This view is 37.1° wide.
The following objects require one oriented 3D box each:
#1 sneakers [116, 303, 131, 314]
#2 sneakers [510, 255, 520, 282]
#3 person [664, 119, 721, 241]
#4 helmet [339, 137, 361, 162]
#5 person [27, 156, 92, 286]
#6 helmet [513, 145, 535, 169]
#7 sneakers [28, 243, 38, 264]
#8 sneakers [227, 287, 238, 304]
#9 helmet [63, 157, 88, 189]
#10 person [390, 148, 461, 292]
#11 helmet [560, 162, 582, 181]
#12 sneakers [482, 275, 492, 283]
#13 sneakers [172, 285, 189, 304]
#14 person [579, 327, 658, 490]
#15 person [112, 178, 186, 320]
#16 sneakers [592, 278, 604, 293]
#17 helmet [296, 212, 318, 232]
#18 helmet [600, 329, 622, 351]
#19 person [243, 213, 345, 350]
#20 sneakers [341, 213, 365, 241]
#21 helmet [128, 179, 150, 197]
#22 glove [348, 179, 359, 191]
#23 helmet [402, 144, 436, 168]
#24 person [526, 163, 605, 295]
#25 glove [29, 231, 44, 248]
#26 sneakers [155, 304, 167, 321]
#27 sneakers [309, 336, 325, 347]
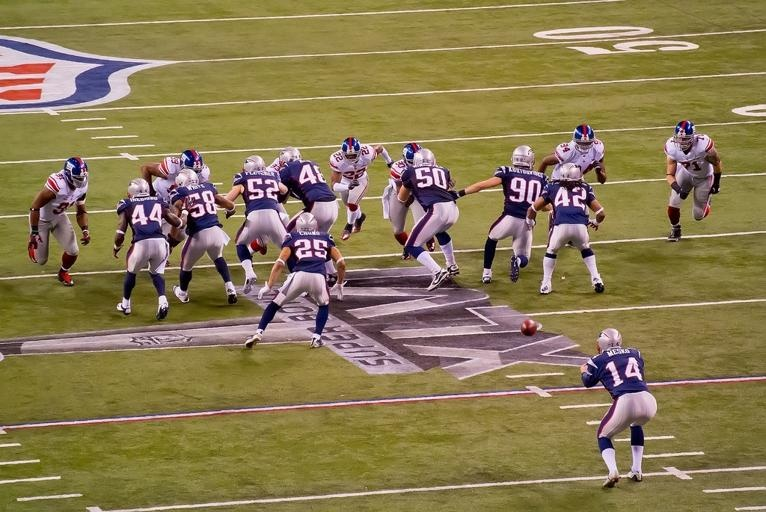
[{"bbox_3d":[-3.592,0.733,15.738,0.145,0.072,0.215,-12,27,-28],"label":"sneakers"},{"bbox_3d":[1.965,0.200,16.760,0.175,0.336,0.191,0,0,24],"label":"sneakers"},{"bbox_3d":[4.965,-1.210,18.383,1.062,1.898,0.662,-9,12,-40],"label":"person"},{"bbox_3d":[-0.507,-1.753,18.080,0.390,0.313,0.354,1,55,-3],"label":"helmet"},{"bbox_3d":[-4.771,-0.500,16.732,0.923,1.878,1.092,-4,9,-14],"label":"person"},{"bbox_3d":[2.042,-1.490,17.146,0.444,0.310,0.493,9,12,21],"label":"helmet"},{"bbox_3d":[-5.179,-0.038,16.830,0.167,0.314,0.255,8,30,-19],"label":"sneakers"},{"bbox_3d":[-2.145,0.569,16.098,0.106,0.233,0.179,-24,45,-12],"label":"sneakers"},{"bbox_3d":[-4.404,-1.178,16.275,0.313,0.424,0.286,-4,9,-16],"label":"helmet"},{"bbox_3d":[0.660,-0.536,16.741,0.869,2.041,1.086,-1,9,3],"label":"person"},{"bbox_3d":[2.674,-1.215,16.458,0.372,0.200,0.234,-16,26,-22],"label":"helmet"},{"bbox_3d":[1.544,0.344,16.938,0.153,0.079,0.236,2,5,3],"label":"sneakers"},{"bbox_3d":[-2.865,0.552,16.179,0.150,0.122,0.343,-4,27,-29],"label":"sneakers"},{"bbox_3d":[2.549,1.632,12.162,0.716,1.625,0.744,-2,9,-5],"label":"person"},{"bbox_3d":[-3.283,-0.088,15.674,0.896,1.913,0.785,-2,9,-2],"label":"person"},{"bbox_3d":[3.107,0.445,16.387,0.214,0.171,0.087,2,-2,2],"label":"sneakers"},{"bbox_3d":[-1.002,-0.442,14.902,0.303,0.235,0.280,1,32,-1],"label":"helmet"},{"bbox_3d":[2.520,0.908,12.393,0.275,0.199,0.268,1,9,0],"label":"helmet"},{"bbox_3d":[-1.082,0.328,14.883,0.852,1.748,1.241,6,11,38],"label":"person"},{"bbox_3d":[-0.487,-0.458,18.443,0.320,0.197,0.655,-25,-6,-36],"label":"sneakers"},{"bbox_3d":[-3.422,-0.945,15.766,0.314,0.260,0.329,-2,15,-20],"label":"helmet"},{"bbox_3d":[-0.467,-1.136,18.208,0.117,0.137,0.190,3,8,24],"label":"glove"},{"bbox_3d":[0.554,-1.492,17.045,0.426,0.218,0.531,-8,18,-16],"label":"helmet"},{"bbox_3d":[2.671,-0.399,16.642,1.113,1.892,0.759,-1,9,5],"label":"person"},{"bbox_3d":[-5.062,-0.225,16.560,0.201,0.269,0.277,-2,8,-5],"label":"glove"},{"bbox_3d":[-3.000,0.774,15.528,0.151,0.242,0.113,11,39,-23],"label":"sneakers"},{"bbox_3d":[-0.866,1.129,14.864,0.115,0.090,0.250,3,4,13],"label":"sneakers"}]
